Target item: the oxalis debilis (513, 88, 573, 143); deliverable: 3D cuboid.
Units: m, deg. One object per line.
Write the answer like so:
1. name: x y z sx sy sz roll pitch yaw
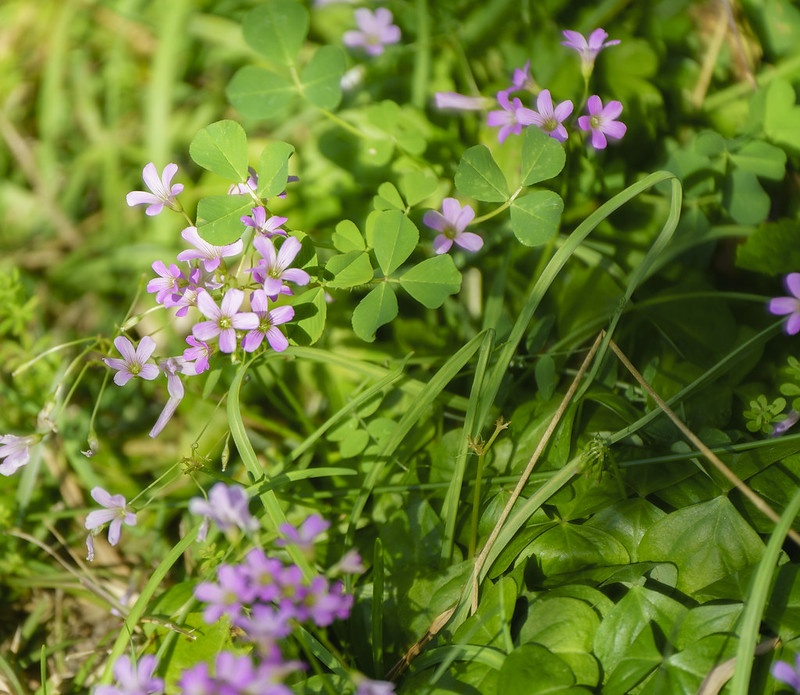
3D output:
1. oxalis debilis: 0.404 -0.616 2.366 0.143 0.141 0.133 -18 51 4

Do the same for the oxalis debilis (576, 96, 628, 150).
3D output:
1. oxalis debilis: 0.560 -0.642 2.414 0.117 0.144 0.070 25 80 -13

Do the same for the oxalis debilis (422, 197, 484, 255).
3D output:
1. oxalis debilis: 0.117 -0.353 2.389 0.196 0.205 0.083 -15 91 -18
